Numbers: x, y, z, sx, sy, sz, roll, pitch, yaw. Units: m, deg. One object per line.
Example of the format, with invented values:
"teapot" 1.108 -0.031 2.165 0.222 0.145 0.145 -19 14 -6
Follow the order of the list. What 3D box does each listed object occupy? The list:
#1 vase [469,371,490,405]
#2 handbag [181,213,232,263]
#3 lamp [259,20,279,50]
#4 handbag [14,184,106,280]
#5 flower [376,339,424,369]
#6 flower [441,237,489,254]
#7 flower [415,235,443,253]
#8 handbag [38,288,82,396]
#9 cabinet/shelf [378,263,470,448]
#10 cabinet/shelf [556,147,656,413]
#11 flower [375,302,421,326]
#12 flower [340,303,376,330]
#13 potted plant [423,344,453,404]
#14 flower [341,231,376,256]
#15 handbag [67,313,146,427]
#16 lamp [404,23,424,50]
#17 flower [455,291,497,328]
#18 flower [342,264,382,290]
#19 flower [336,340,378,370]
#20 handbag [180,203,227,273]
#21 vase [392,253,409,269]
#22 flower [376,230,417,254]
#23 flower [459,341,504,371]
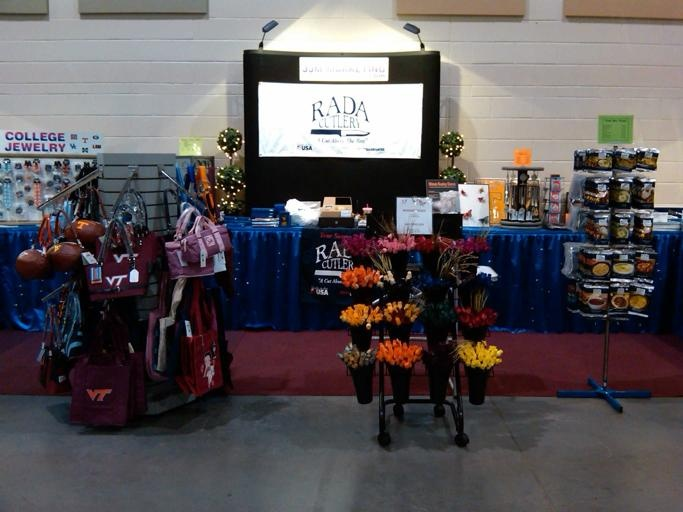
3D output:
"vase" 0.893 0.849 4.469 0.132 0.264 0.093 1 11 16
"handbag" -0.897 -0.116 4.651 0.293 0.289 0.148 -19 1 -7
"lamp" -0.766 -2.339 7.167 0.148 0.072 0.331 -14 -18 -25
"handbag" -1.877 -0.173 4.562 0.555 0.572 0.510 -6 12 -22
"flower" 0.375 0.630 4.446 0.203 0.132 0.195 4 3 2
"flower" 0.820 -0.074 4.526 0.235 0.130 0.152 4 11 6
"flower" 0.584 -0.092 4.574 0.172 0.107 0.236 0 12 6
"handbag" -1.928 0.541 4.623 0.310 0.762 0.247 6 13 36
"cabinet/shelf" 0.592 0.685 4.696 0.672 1.347 0.885 0 17 3
"cabinet/shelf" 2.024 0.244 5.104 0.445 1.650 0.453 4 -8 12
"flower" 0.392 0.377 4.514 0.250 0.160 0.138 -1 11 6
"flower" 0.129 0.392 4.469 0.160 0.107 0.172 -1 12 -7
"potted plant" 0.640 0.765 4.528 0.236 0.373 0.262 -1 1 -2
"flower" 0.114 -0.069 4.655 0.159 0.150 0.382 -6 13 -22
"handbag" -1.580 0.768 4.605 0.483 0.757 0.223 -1 10 2
"lamp" 0.757 -2.288 7.109 0.222 0.283 0.279 0 11 8
"flower" 0.899 0.360 4.562 0.226 0.269 0.237 2 3 38
"flower" 0.141 0.146 4.562 0.258 0.166 0.192 -1 12 6
"flower" 0.114 0.659 4.479 0.220 0.146 0.061 -1 10 5
"handbag" -0.904 -0.097 4.670 0.332 0.423 0.199 -16 16 -23
"vase" 0.388 0.035 4.516 0.098 0.119 0.102 4 8 20
"flower" 0.364 -0.093 4.556 0.264 0.127 0.243 -1 12 3
"flower" 0.928 0.606 4.445 0.232 0.157 0.216 5 -1 -42
